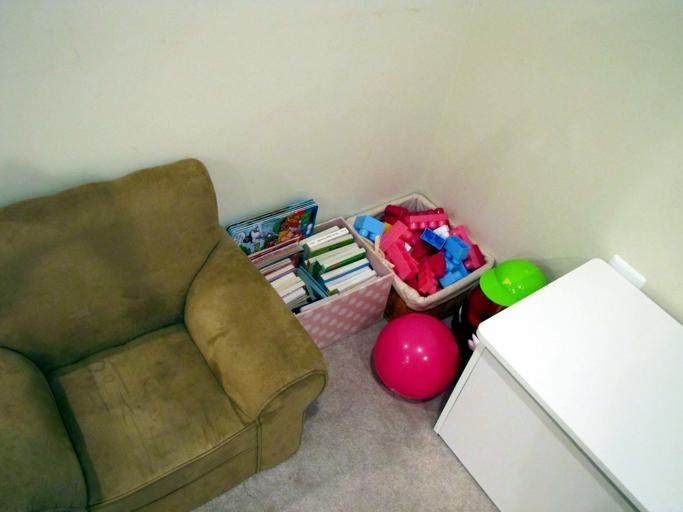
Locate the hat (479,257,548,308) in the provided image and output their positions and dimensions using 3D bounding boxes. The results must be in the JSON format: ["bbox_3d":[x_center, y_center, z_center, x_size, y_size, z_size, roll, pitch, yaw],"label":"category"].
[{"bbox_3d":[0.664,0.112,2.155,0.213,0.111,0.177,-6,62,-24],"label":"hat"}]

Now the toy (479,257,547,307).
[{"bbox_3d":[0.670,0.114,2.148,0.212,0.111,0.177,-7,66,-24],"label":"toy"}]

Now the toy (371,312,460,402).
[{"bbox_3d":[0.308,0.418,2.279,0.301,0.358,0.343,9,73,11],"label":"toy"}]

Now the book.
[{"bbox_3d":[-0.109,0.042,2.375,0.453,0.168,0.357,-26,82,-17],"label":"book"}]

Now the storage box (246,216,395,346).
[{"bbox_3d":[-0.034,0.109,2.484,0.384,0.293,0.417,-26,57,-9],"label":"storage box"}]
